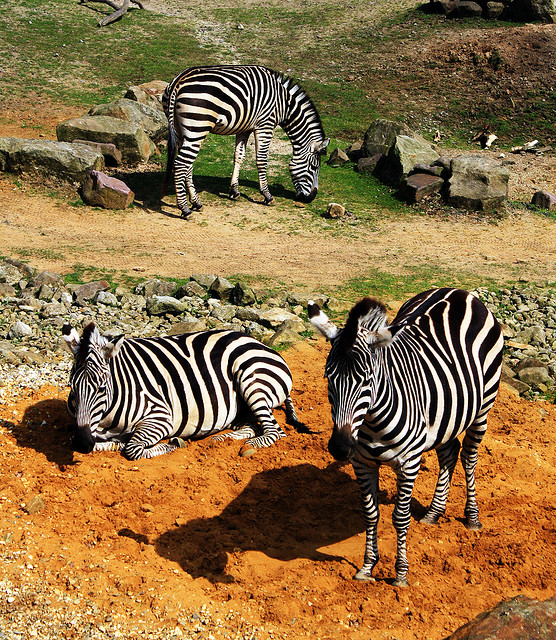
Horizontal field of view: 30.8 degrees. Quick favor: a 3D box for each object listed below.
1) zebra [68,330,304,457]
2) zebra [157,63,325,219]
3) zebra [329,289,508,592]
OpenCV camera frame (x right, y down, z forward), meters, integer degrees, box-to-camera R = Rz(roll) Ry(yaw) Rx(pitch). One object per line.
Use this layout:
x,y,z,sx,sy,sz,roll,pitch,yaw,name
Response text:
-1.051,0.718,10.427,2.830,1.281,0.980,-5,9,-41,zebra
-0.625,-3.148,17.117,1.125,2.369,4.236,15,17,38,zebra
1.171,1.033,9.043,0.830,2.615,1.975,21,24,38,zebra
